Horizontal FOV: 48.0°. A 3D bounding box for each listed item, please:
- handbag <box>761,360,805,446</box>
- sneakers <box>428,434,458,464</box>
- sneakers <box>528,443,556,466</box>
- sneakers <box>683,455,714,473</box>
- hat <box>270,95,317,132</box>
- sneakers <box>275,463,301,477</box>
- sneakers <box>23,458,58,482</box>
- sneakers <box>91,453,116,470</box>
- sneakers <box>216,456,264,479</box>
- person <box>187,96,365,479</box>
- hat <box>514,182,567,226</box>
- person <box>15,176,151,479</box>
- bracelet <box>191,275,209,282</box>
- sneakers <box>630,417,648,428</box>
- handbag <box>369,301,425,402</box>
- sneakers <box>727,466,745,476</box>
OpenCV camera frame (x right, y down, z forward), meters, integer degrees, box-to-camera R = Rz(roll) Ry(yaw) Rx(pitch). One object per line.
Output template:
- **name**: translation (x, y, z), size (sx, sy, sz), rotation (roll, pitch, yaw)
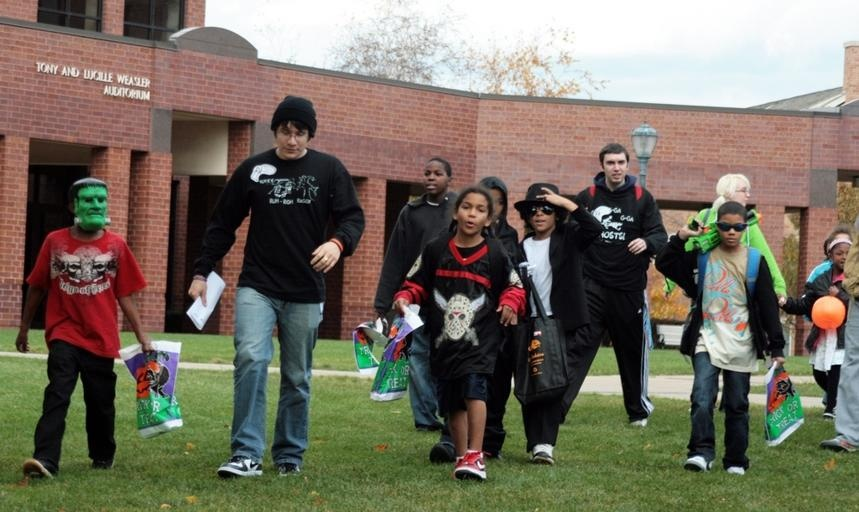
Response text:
- **handbag**: translation (3.951, 1.673, 10.909), size (0.438, 0.983, 0.206), rotation (-1, 8, -18)
- **sneakers**: translation (0.136, 2.192, 10.809), size (0.285, 0.218, 0.298), rotation (1, 7, -2)
- **sneakers**: translation (1.255, 2.230, 10.849), size (0.273, 0.233, 0.420), rotation (2, 7, 6)
- **sneakers**: translation (2.921, 2.263, 10.467), size (0.341, 0.166, 0.150), rotation (-1, 7, -17)
- **hat**: translation (-1.410, -1.592, 10.382), size (0.448, 0.349, 0.419), rotation (9, -6, -23)
- **sneakers**: translation (-1.488, 2.270, 10.131), size (0.284, 0.090, 0.118), rotation (-1, 10, -22)
- **sneakers**: translation (-3.941, 2.185, 9.775), size (0.354, 0.142, 0.156), rotation (29, 2, -25)
- **sneakers**: translation (-3.430, 2.193, 10.175), size (0.266, 0.103, 0.106), rotation (1, 11, -23)
- **sneakers**: translation (-1.931, 2.197, 9.998), size (0.485, 0.182, 0.198), rotation (9, -10, -31)
- **person**: translation (-1.582, 0.303, 10.187), size (1.635, 4.002, 0.975), rotation (0, 8, -12)
- **hat**: translation (1.272, -0.597, 11.246), size (0.599, 0.498, 0.347), rotation (2, 7, 6)
- **person**: translation (-3.616, 0.724, 10.140), size (1.256, 3.047, 0.972), rotation (-2, 8, -25)
- **bracelet**: translation (-2.423, 0.227, 10.216), size (0.129, 0.066, 0.203), rotation (0, 7, -13)
- **sneakers**: translation (2.661, 2.145, 12.396), size (0.232, 0.084, 0.205), rotation (3, 7, 9)
- **handbag**: translation (-0.361, 1.059, 10.487), size (0.505, 1.103, 0.482), rotation (2, 7, -1)
- **sneakers**: translation (3.293, 2.343, 10.429), size (0.135, 0.046, 0.096), rotation (6, 1, -22)
